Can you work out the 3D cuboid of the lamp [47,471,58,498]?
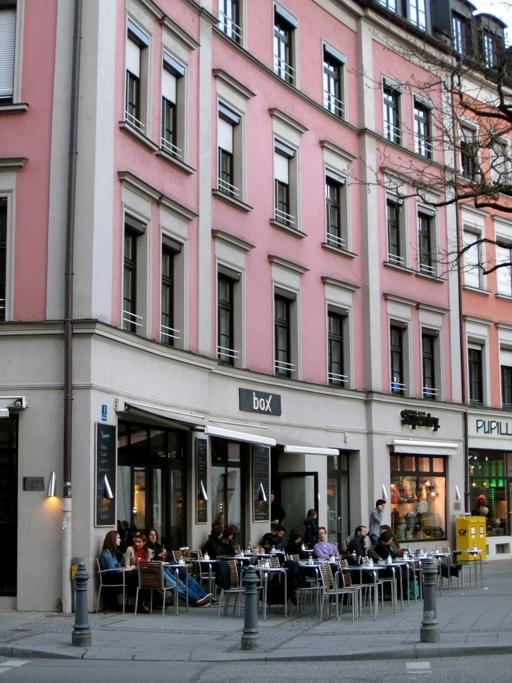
[{"bbox_3d":[-2.924,2.050,15.723,0.136,0.394,0.161,-1,-12,-2],"label":"lamp"}]
